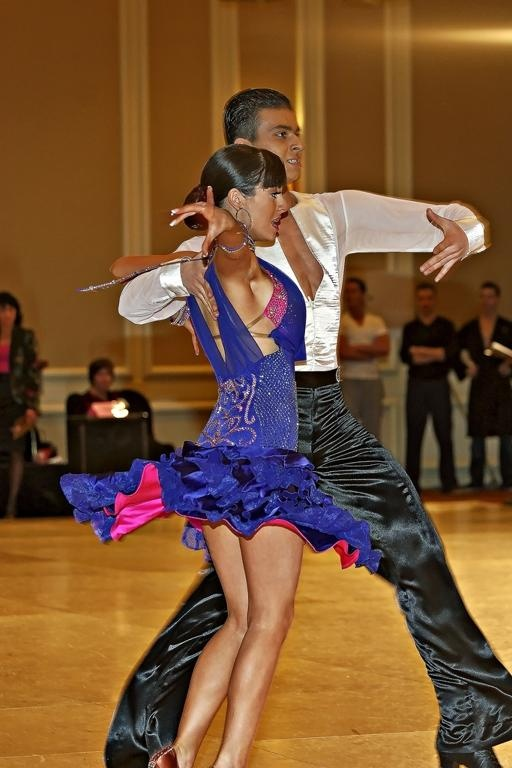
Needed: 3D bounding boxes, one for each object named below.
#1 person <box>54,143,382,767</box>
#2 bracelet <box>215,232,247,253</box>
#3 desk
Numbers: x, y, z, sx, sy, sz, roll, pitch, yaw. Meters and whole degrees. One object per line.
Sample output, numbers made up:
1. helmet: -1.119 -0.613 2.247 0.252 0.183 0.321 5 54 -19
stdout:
1. person: -0.071 0.145 1.355 0.439 1.097 0.418 1 1 41
2. bracelet: -0.037 -0.219 1.190 0.053 0.030 0.037 0 1 -7
3. desk: -1.193 0.465 6.040 0.695 0.530 0.343 -1 2 -20
